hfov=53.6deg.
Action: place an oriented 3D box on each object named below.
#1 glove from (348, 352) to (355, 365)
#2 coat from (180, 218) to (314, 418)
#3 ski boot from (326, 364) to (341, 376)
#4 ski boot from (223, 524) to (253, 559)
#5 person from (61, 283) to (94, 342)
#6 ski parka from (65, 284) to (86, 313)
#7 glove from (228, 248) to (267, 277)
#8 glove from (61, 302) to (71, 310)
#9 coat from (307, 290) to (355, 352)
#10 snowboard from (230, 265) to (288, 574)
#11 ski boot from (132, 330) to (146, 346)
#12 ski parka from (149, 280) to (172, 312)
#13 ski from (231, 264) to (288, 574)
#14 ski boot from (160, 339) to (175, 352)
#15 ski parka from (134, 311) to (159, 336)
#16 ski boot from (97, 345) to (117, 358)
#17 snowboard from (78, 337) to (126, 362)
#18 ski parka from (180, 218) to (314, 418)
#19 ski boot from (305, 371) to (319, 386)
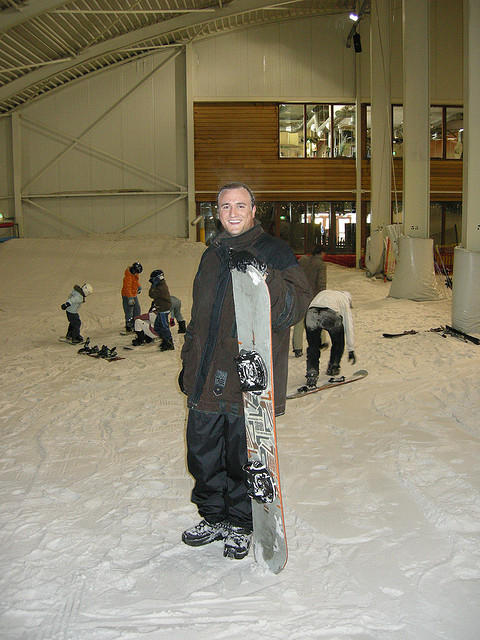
[{"bbox_3d":[1.189,0.415,5.125,0.025,0.111,0.061,-4,4,-21],"label":"glove"},{"bbox_3d":[0.008,0.026,1.963,0.475,0.850,0.183,8,7,35],"label":"coat"},{"bbox_3d":[1.063,0.582,5.488,0.092,0.104,0.162,4,5,21],"label":"ski boot"},{"bbox_3d":[-0.007,0.963,2.033,0.063,0.087,0.192,6,-24,12],"label":"ski boot"},{"bbox_3d":[-2.954,-0.104,8.753,0.558,1.165,0.899,0,30,-22],"label":"person"},{"bbox_3d":[-2.616,-0.328,7.569,0.308,0.433,0.238,-5,6,-29],"label":"ski parka"},{"bbox_3d":[0.035,-0.224,1.668,0.044,0.116,0.091,-45,-3,-31],"label":"glove"},{"bbox_3d":[-2.708,-0.213,7.439,0.083,0.060,0.136,47,43,18],"label":"glove"},{"bbox_3d":[1.055,0.038,5.160,0.234,0.773,0.614,4,-12,-34],"label":"coat"},{"bbox_3d":[0.071,0.315,1.784,0.176,1.335,0.195,0,3,45],"label":"snowboard"},{"bbox_3d":[-1.552,0.293,7.416,0.130,0.248,0.246,1,13,-13],"label":"ski boot"},{"bbox_3d":[-1.177,-0.352,7.053,0.310,0.474,0.313,-3,5,-11],"label":"ski parka"},{"bbox_3d":[0.098,0.328,1.823,0.192,1.291,0.183,-6,7,-36],"label":"ski"},{"bbox_3d":[-1.072,0.377,7.090,0.236,0.161,0.100,-5,6,-34],"label":"ski boot"},{"bbox_3d":[-1.407,0.033,7.385,0.303,0.421,0.234,-1,4,5],"label":"ski parka"},{"bbox_3d":[-1.851,0.449,6.661,0.124,0.153,0.359,-4,-2,-27],"label":"ski boot"},{"bbox_3d":[-1.953,0.416,6.734,0.718,0.259,0.268,5,5,43],"label":"snowboard"},{"bbox_3d":[0.024,0.030,1.952,0.484,0.844,0.215,6,5,37],"label":"ski parka"},{"bbox_3d":[0.743,0.619,4.990,0.124,0.177,0.146,0,-10,2],"label":"ski boot"}]
